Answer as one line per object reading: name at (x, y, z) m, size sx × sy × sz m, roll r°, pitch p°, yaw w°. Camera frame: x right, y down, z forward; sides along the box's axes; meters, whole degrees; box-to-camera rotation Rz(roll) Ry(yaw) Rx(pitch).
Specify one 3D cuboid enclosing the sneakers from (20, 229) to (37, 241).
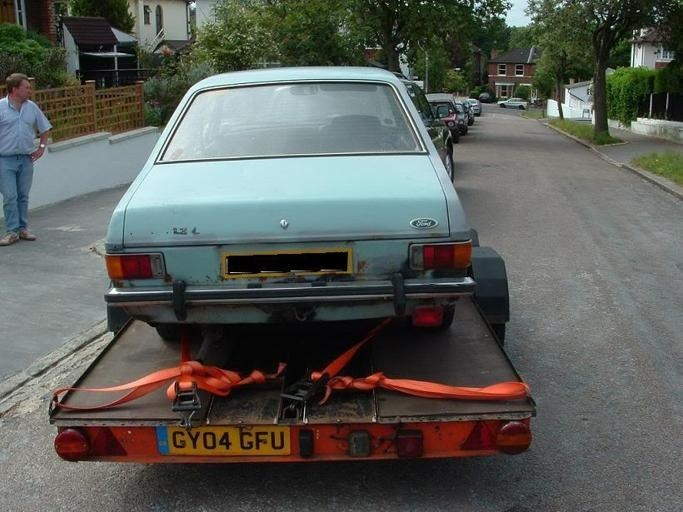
sneakers at (-4.837, -0.329, 8.883) m, size 0.309 × 0.129 × 0.103 m, roll 1°, pitch 10°, yaw 24°

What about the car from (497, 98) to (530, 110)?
car at (29.927, -26.588, 100.101) m, size 1.631 × 1.639 × 6.628 m, roll -6°, pitch 17°, yaw -18°

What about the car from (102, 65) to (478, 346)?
car at (-0.296, -0.580, 4.460) m, size 1.677 × 1.119 × 2.753 m, roll -1°, pitch 22°, yaw 3°
